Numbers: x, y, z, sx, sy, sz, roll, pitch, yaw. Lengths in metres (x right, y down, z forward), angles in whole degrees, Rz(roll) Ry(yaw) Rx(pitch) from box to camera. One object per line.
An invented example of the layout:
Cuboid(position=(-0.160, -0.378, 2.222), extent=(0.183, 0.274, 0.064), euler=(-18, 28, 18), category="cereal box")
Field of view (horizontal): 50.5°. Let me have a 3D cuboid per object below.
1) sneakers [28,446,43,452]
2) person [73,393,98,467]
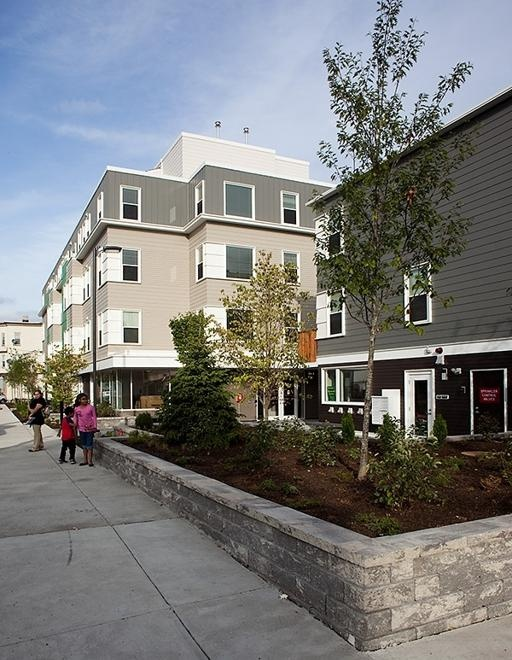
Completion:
Cuboid(position=(-6.680, 3.590, 16.384), extent=(0.149, 0.165, 0.419), euler=(-6, -15, 24), category="sneakers")
Cuboid(position=(-4.127, 2.393, 13.075), extent=(0.450, 1.786, 0.948), euler=(-4, 1, -20), category="person")
